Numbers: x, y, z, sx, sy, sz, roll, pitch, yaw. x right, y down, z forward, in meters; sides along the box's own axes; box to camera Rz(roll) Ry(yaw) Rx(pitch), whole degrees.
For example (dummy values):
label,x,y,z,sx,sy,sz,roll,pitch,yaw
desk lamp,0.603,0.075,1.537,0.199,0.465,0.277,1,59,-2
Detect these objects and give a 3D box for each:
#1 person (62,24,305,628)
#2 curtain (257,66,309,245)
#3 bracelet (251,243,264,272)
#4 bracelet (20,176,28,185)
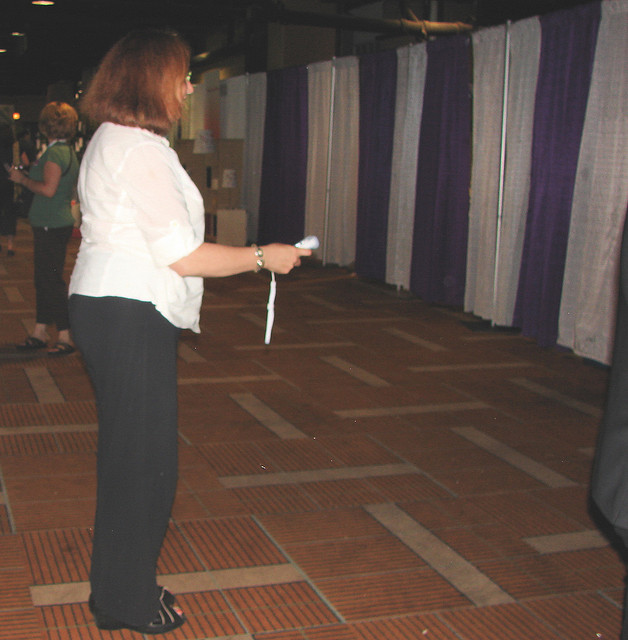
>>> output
label,x,y,z,sx,sy,sz,roll,pitch,yaw
person,-0.352,0.085,1.591,0.414,1.501,0.318,-3,17,-21
curtain,-0.424,-2.209,9.177,0.440,2.405,1.182,-3,16,-20
bracelet,-0.127,-0.137,1.563,0.032,0.056,0.064,-7,40,-8
bracelet,-1.816,-0.883,4.228,0.066,0.049,0.014,-5,-28,36
